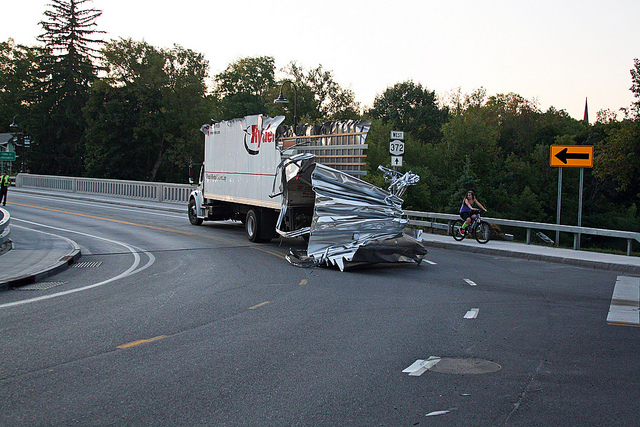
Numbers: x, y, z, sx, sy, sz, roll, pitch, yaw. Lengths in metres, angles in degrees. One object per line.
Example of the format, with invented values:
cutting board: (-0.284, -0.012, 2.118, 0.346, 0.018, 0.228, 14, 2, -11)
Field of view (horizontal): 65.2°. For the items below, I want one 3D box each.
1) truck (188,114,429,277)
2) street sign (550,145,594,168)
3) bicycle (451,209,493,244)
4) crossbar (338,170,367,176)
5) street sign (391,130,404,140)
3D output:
truck: (-1.524, -1.163, 19.077, 4.430, 4.830, 11.549, -1, 6, -39)
street sign: (10.429, -2.407, 20.744, 1.485, 0.990, 1.926, 4, 5, 23)
bicycle: (5.973, 0.480, 19.736, 1.923, 1.303, 0.879, 5, -7, -20)
crossbar: (1.035, -1.305, 16.036, 0.606, 0.094, 0.125, 12, 29, 39)
street sign: (3.193, -3.303, 20.574, 0.557, 0.335, 0.369, 1, -8, -7)
